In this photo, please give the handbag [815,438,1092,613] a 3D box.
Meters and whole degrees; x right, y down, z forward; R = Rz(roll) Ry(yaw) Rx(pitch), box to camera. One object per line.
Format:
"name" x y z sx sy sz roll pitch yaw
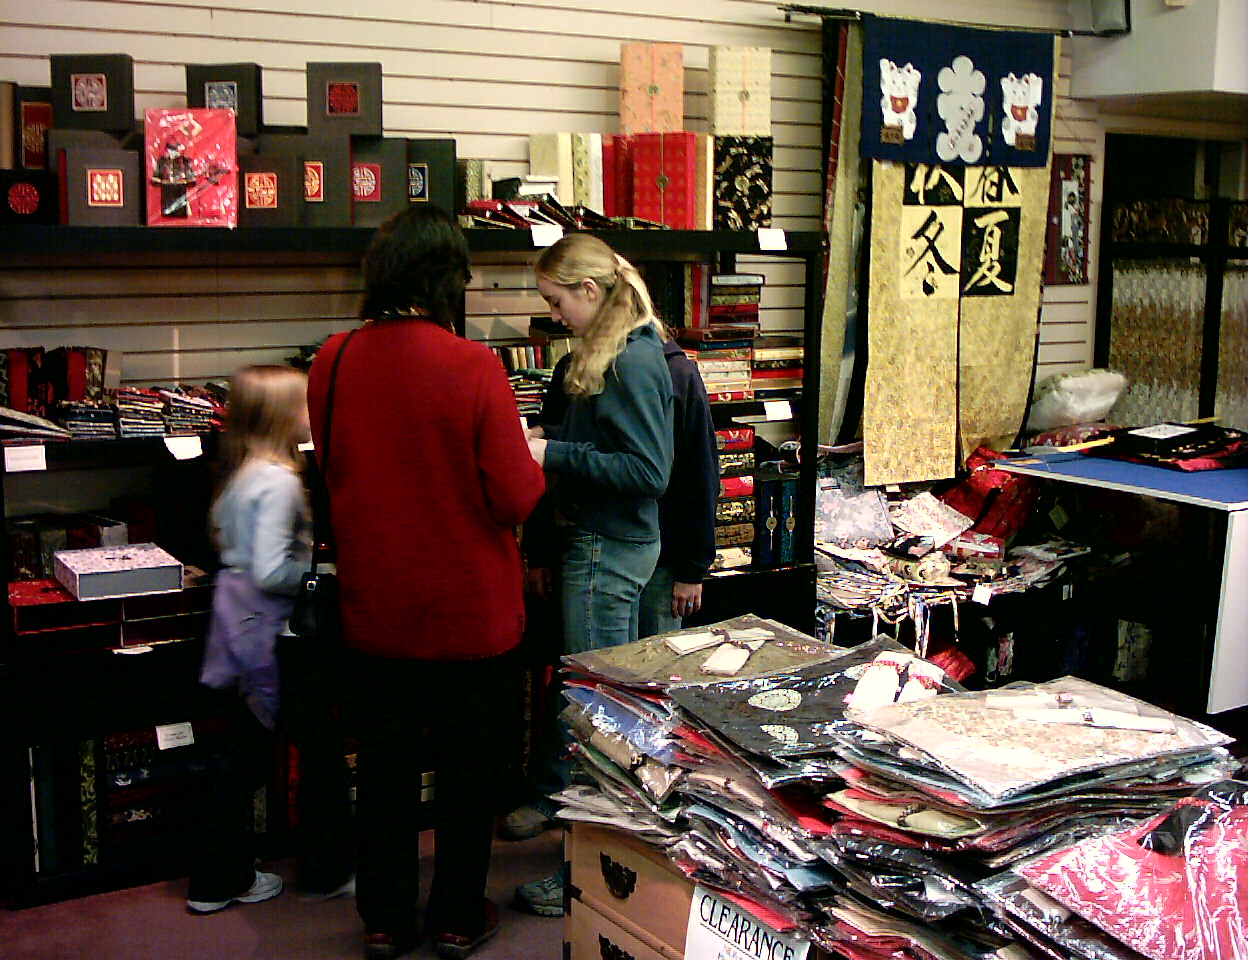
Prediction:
"handbag" 1.450 0.284 4.844 1.010 0.270 0.902 -9 19 -20
